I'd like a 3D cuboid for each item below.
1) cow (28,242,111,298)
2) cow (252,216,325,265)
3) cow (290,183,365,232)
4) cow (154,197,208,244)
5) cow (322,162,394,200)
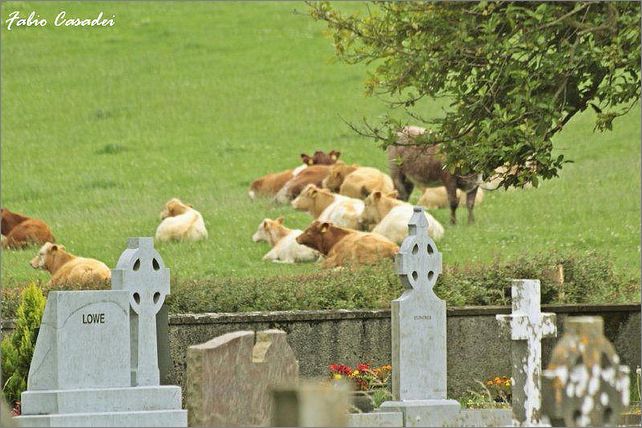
[{"bbox_3d":[-4.593,1.017,32.585,1.653,1.026,0.881,9,3,17],"label":"cow"},{"bbox_3d":[-0.505,0.548,33.971,1.411,0.748,0.571,9,9,40],"label":"cow"},{"bbox_3d":[0.184,-0.053,34.720,1.559,0.905,0.626,18,13,16],"label":"cow"},{"bbox_3d":[-2.637,0.143,34.117,1.005,0.670,0.630,-2,12,-4],"label":"cow"},{"bbox_3d":[0.731,-0.627,35.481,1.547,0.822,0.628,13,13,19],"label":"cow"}]
